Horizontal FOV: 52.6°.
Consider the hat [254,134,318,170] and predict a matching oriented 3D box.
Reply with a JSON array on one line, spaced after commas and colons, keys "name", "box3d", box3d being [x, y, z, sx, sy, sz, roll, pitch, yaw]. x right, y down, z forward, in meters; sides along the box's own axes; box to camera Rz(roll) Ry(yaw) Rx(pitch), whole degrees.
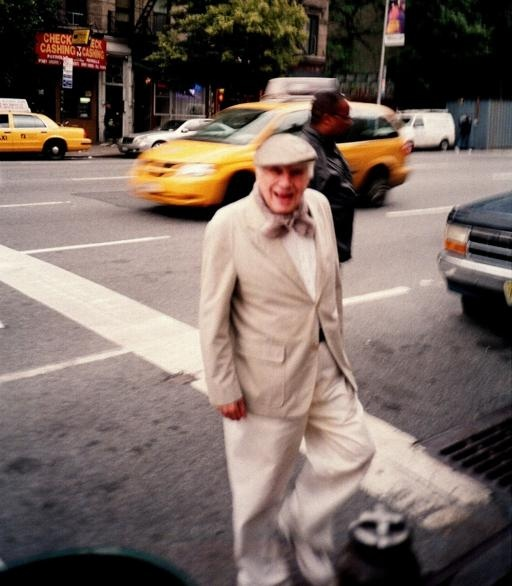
[{"name": "hat", "box3d": [0.093, -0.390, 1.416, 0.135, 0.113, 0.174, -10, 21, -38]}]

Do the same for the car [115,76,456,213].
[{"name": "car", "box3d": [0.505, -2.920, 10.611, 5.713, 3.027, 3.201, -4, 14, -31]}]

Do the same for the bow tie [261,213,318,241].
[{"name": "bow tie", "box3d": [0.092, -0.183, 1.412, 0.037, 0.069, 0.186, 14, 18, 41]}]

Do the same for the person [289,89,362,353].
[{"name": "person", "box3d": [0.386, -0.451, 2.990, 0.361, 1.262, 0.549, 12, 36, 21]}]
